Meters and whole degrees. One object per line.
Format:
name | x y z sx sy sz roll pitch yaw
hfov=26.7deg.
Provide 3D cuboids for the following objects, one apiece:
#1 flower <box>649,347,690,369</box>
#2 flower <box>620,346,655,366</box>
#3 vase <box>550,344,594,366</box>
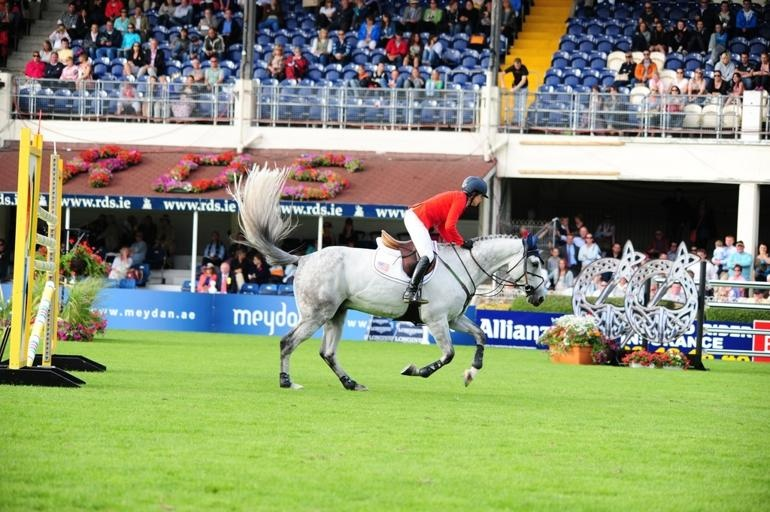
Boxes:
flower | 7.136 2.650 41.376 0.548 0.396 0.671 3 2 -11
flower | 6.414 2.588 41.372 0.492 0.345 0.504 3 2 37
vase | 4.741 2.567 41.766 0.793 0.343 0.514 -3 -3 31
